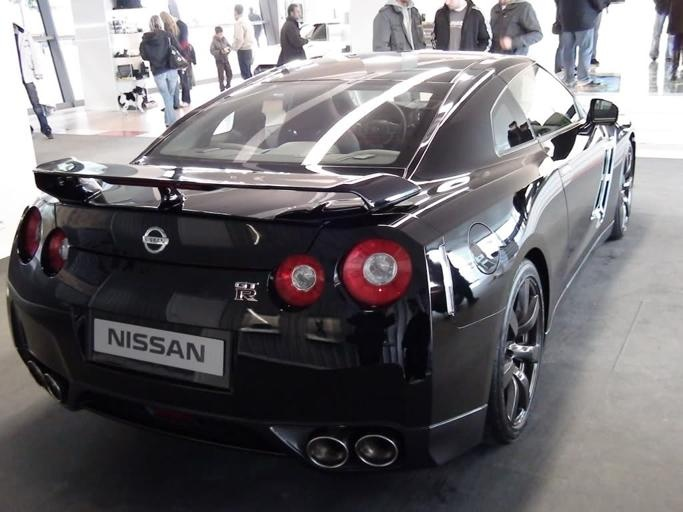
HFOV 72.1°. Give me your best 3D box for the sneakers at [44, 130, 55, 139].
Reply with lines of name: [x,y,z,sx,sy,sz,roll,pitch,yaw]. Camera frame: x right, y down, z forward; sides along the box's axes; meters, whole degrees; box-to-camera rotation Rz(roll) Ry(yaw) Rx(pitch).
sneakers: [-6.082,-2.545,9.736,0.120,0.164,0.364,-25,31,-23]

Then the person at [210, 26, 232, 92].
person: [-3.560,-5.890,14.026,0.650,1.934,0.624,-26,53,-26]

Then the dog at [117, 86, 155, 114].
dog: [-5.812,-4.363,13.055,0.810,0.657,0.637,-5,24,-10]
